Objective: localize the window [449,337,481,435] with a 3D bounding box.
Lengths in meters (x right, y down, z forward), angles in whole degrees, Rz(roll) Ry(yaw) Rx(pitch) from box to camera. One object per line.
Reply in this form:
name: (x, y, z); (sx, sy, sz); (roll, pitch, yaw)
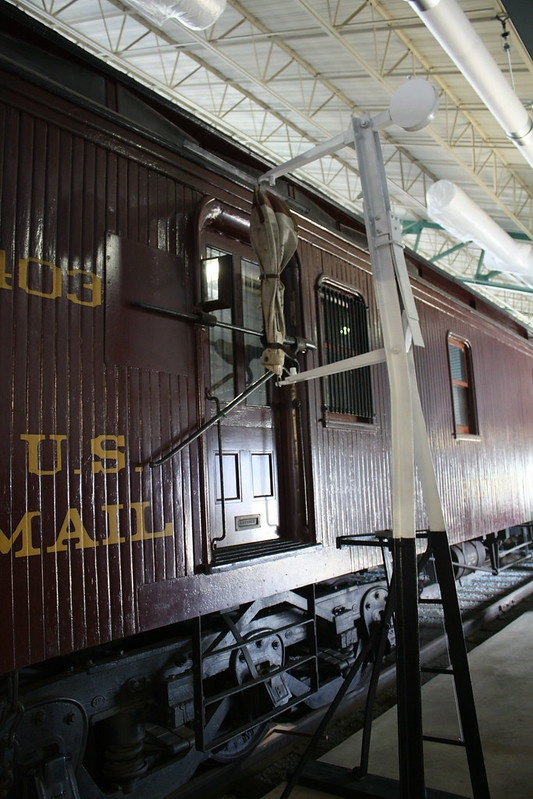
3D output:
window: (2.265, -0.122, 6.915); (0.102, 1.380, 1.047); (-10, -8, 29)
